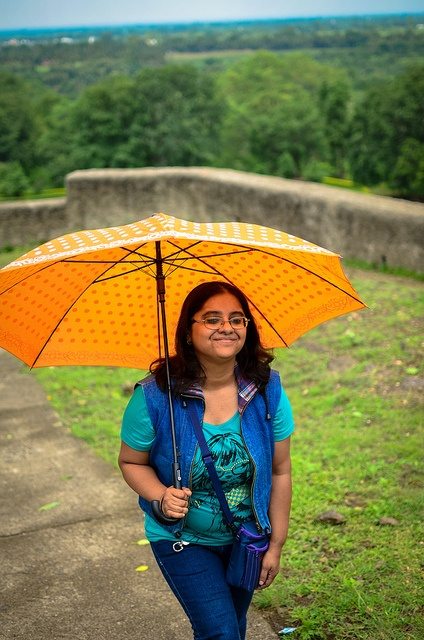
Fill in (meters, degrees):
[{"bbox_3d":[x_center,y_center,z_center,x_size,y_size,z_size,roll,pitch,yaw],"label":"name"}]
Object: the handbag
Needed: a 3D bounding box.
[{"bbox_3d":[0.047,0.632,2.047,0.273,0.707,0.203,0,18,13],"label":"handbag"}]
